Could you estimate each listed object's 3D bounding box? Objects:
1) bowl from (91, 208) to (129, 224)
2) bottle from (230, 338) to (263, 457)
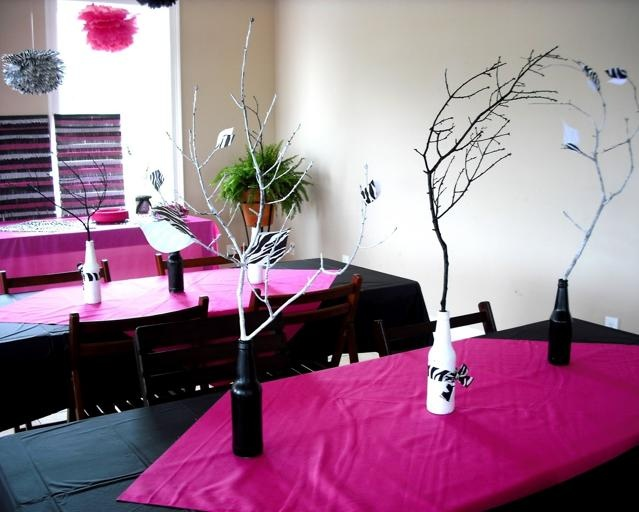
[{"bbox_3d":[-1.913,-0.358,4.236,0.239,0.099,0.255,1,4,0],"label":"bowl"},{"bbox_3d":[-0.157,0.304,1.003,0.061,0.267,0.037,-3,12,-12],"label":"bottle"}]
